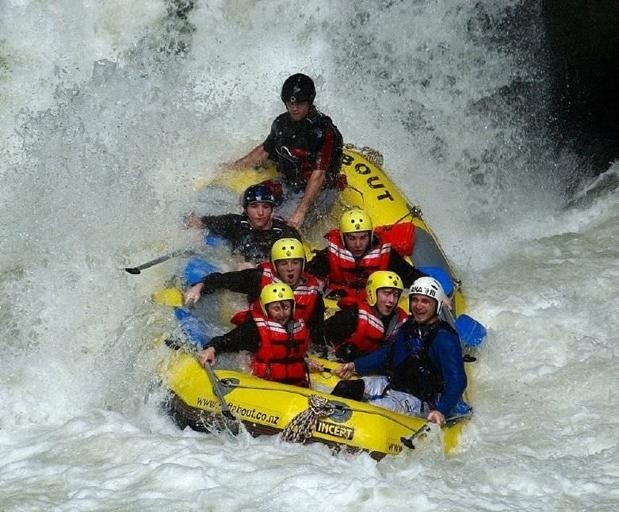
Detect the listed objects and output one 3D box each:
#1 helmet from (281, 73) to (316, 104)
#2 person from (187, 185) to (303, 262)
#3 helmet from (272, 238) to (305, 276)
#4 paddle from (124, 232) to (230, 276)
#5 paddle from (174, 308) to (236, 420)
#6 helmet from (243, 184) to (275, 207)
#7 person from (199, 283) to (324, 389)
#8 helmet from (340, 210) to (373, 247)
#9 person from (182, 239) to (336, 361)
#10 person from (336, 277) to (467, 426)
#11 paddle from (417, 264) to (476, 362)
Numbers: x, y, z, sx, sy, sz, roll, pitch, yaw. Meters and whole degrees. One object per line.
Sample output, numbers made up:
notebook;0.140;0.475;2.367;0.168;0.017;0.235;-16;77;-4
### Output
helmet;-0.109;-1.694;8.193;0.283;0.258;0.327;7;34;11
person;-0.559;-0.278;7.768;0.713;0.372;0.873;-4;33;-23
helmet;-0.194;-0.007;7.248;0.236;0.290;0.247;0;64;-12
paddle;-1.210;-0.014;7.725;0.795;0.119;0.127;-22;47;-26
paddle;-0.860;0.783;6.675;0.305;0.152;1.297;-8;35;-23
helmet;-0.467;-0.581;7.702;0.207;0.253;0.179;1;57;-13
person;-0.366;0.669;6.715;0.902;0.299;0.892;2;62;-19
helmet;0.424;-0.304;7.670;0.247;0.268;0.300;-3;11;-4
person;-0.273;0.245;6.912;1.105;0.396;1.032;10;70;0
person;0.730;0.804;6.633;0.953;1.006;0.820;-1;33;-27
paddle;1.225;0.523;7.360;0.247;0.112;0.982;-30;71;-5
